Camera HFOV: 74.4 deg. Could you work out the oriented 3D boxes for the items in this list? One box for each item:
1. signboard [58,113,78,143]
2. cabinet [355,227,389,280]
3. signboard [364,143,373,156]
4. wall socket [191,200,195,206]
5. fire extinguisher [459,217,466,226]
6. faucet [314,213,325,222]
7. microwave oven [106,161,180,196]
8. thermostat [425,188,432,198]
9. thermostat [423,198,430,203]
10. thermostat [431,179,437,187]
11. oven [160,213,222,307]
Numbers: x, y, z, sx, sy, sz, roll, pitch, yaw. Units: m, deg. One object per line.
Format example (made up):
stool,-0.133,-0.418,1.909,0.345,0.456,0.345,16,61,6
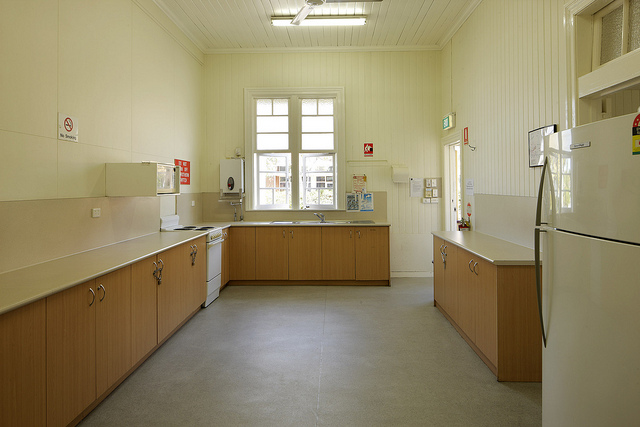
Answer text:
signboard,-2.602,-0.924,4.433,0.308,0.314,0.031,11,10,22
cabinet,0.746,0.702,7.189,0.677,0.993,0.683,2,-6,-15
signboard,0.867,-1.147,7.477,0.192,0.286,0.028,0,3,3
wall socket,-2.099,-0.176,7.072,0.052,0.104,0.107,0,1,7
fire extinguisher,2.132,0.133,6.297,0.078,0.071,0.139,4,12,19
faucet,0.010,0.065,7.332,0.176,0.131,0.344,0,12,-1
microwave oven,-2.110,-0.404,5.043,0.405,0.314,0.614,0,0,-3
thermostat,1.925,-0.372,7.455,0.141,0.275,0.030,-1,3,5
thermostat,1.888,-0.233,7.472,0.110,0.079,0.027,2,11,11
thermostat,2.011,-0.542,7.464,0.115,0.178,0.019,-1,-3,5
oven,-1.849,0.691,6.283,0.757,1.276,0.707,0,2,-2
